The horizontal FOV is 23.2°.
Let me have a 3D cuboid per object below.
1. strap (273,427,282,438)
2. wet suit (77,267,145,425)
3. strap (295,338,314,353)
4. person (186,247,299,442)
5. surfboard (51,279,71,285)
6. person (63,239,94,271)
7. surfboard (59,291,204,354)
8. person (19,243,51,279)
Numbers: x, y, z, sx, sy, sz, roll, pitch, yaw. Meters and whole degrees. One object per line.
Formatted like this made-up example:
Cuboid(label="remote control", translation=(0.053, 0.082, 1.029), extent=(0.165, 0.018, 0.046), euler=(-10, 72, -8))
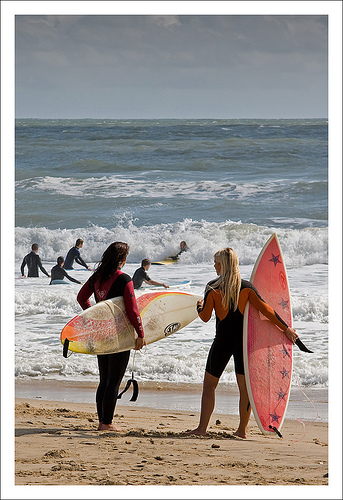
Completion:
Cuboid(label="strap", translation=(0.960, 1.656, 7.597), extent=(0.042, 0.142, 0.032), euler=(-41, 19, -17))
Cuboid(label="wet suit", translation=(-0.574, 0.909, 7.745), extent=(0.402, 1.537, 0.617), euler=(-7, 11, -39))
Cuboid(label="strap", translation=(1.215, 0.897, 7.756), extent=(0.156, 0.141, 0.117), euler=(-8, 12, -43))
Cuboid(label="person", translation=(0.586, 0.868, 7.632), extent=(0.878, 1.774, 0.319), euler=(0, 9, -2))
Cuboid(label="surfboard", translation=(-1.948, 0.568, 14.659), extent=(0.340, 0.069, 0.238), euler=(-1, 8, -9))
Cuboid(label="person", translation=(-1.910, 0.136, 17.075), extent=(0.417, 0.766, 0.293), euler=(6, 28, -36))
Cuboid(label="surfboard", translation=(-0.379, 0.712, 8.127), extent=(1.713, 0.506, 0.187), euler=(-13, -16, -31))
Cuboid(label="person", translation=(-2.741, 0.244, 16.894), extent=(0.645, 1.098, 0.357), euler=(3, 6, 20))
